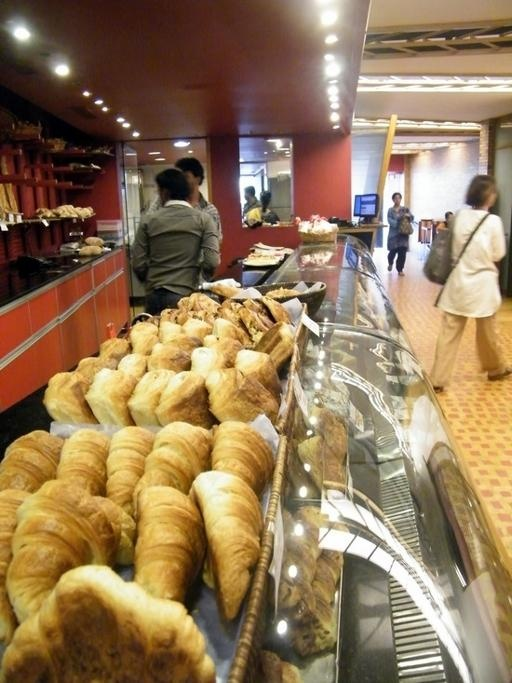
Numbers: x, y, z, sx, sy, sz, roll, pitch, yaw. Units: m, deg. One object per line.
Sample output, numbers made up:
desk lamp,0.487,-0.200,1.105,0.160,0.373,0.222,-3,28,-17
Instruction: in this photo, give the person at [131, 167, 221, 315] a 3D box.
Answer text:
person,-0.693,-0.572,3.559,0.599,1.745,0.552,9,31,-4

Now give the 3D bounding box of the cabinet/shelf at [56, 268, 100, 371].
cabinet/shelf,-2.318,-0.446,5.372,0.441,1.146,1.290,-1,5,-24

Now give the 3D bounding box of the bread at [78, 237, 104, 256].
bread,-2.287,-1.314,5.784,0.300,0.150,0.556,-2,32,-12

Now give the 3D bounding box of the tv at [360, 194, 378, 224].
tv,2.323,-2.679,8.359,0.284,0.548,0.698,7,18,14

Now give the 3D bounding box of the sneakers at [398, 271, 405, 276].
sneakers,3.629,-1.688,10.308,0.097,0.119,0.257,-1,3,17

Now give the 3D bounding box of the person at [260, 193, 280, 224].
person,0.265,-2.675,8.297,0.373,0.623,0.875,2,18,1

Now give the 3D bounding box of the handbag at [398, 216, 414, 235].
handbag,3.614,-2.791,9.987,0.319,0.465,0.489,6,18,12

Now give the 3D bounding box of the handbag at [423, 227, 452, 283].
handbag,1.821,-0.763,4.073,0.244,0.587,0.394,6,-11,33

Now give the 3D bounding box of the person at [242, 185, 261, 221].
person,-0.088,-2.748,8.210,0.308,0.628,0.775,1,18,-3
